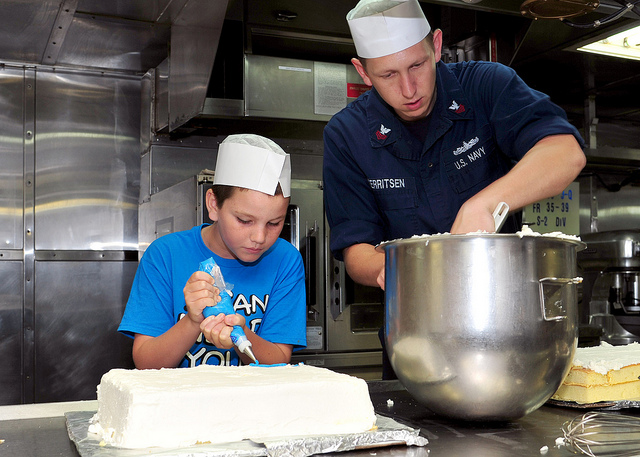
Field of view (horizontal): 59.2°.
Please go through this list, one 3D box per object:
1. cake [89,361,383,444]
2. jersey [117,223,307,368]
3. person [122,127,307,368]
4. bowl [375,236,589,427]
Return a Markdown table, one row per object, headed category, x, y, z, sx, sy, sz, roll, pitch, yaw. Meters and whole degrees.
| category | x | y | z | sx | sy | sz | roll | pitch | yaw |
| --- | --- | --- | --- | --- | --- | --- | --- | --- | --- |
| cake | -0.199 | 0.377 | 1.268 | 0.651 | 0.103 | 0.282 | 0 | -1 | -8 |
| jersey | -0.333 | 0.196 | 1.856 | 0.566 | 0.426 | 0.279 | 0 | -1 | 0 |
| person | -0.350 | 0.067 | 1.756 | 0.523 | 0.736 | 0.558 | -1 | -1 | 15 |
| bowl | 0.354 | 0.243 | 1.283 | 0.435 | 0.393 | 0.445 | 2 | -9 | 0 |
